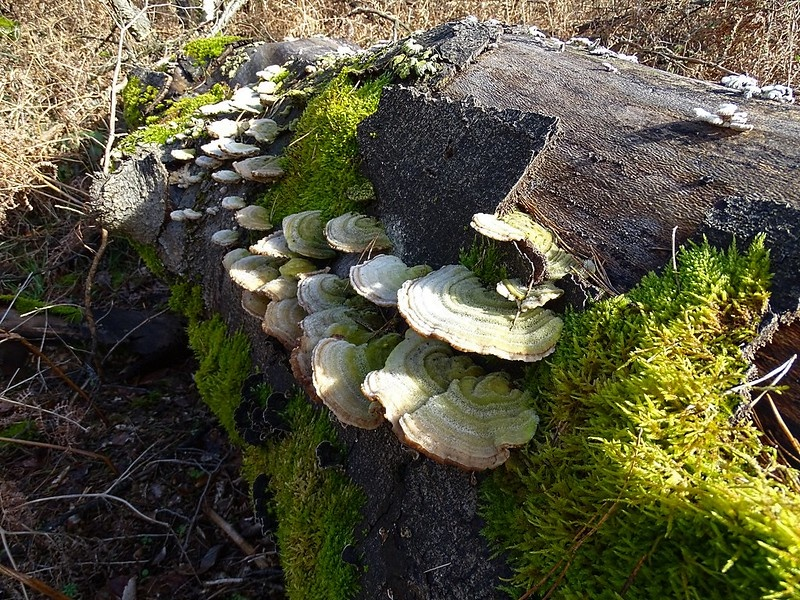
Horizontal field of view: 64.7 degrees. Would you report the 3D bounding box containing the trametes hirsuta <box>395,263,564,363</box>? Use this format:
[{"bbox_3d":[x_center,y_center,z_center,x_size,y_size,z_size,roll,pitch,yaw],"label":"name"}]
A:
[{"bbox_3d":[0.541,0.128,4.491,0.902,0.137,0.655,23,55,26],"label":"trametes hirsuta"}]

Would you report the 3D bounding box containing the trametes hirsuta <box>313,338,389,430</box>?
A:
[{"bbox_3d":[-0.401,0.640,4.683,0.627,0.149,0.610,-16,62,-31],"label":"trametes hirsuta"}]
